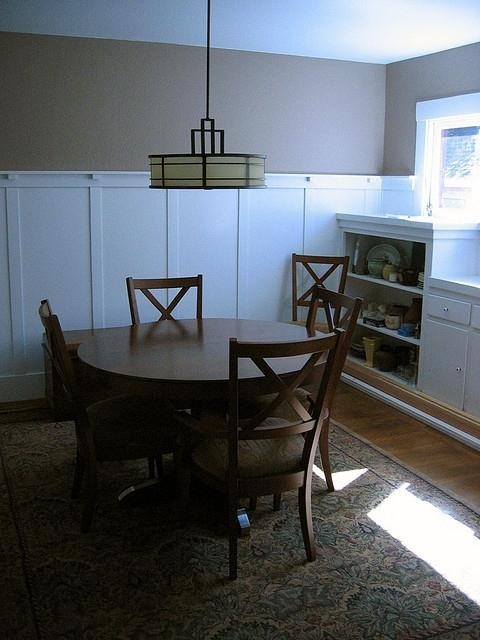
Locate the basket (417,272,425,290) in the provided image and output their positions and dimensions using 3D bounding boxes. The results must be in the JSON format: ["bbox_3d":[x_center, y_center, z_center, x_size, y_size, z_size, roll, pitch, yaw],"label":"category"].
[{"bbox_3d":[1.138,-0.242,3.244,0.032,0.109,0.236,0,14,17],"label":"basket"}]

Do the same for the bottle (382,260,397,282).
[{"bbox_3d":[1.065,-0.340,3.679,0.114,0.145,0.116,0,9,0],"label":"bottle"}]

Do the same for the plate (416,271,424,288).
[{"bbox_3d":[1.150,-0.257,3.274,0.080,0.088,0.086,6,16,21],"label":"plate"}]

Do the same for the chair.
[{"bbox_3d":[0.071,0.354,2.057,0.978,0.811,1.149,-2,22,-6],"label":"chair"}]
